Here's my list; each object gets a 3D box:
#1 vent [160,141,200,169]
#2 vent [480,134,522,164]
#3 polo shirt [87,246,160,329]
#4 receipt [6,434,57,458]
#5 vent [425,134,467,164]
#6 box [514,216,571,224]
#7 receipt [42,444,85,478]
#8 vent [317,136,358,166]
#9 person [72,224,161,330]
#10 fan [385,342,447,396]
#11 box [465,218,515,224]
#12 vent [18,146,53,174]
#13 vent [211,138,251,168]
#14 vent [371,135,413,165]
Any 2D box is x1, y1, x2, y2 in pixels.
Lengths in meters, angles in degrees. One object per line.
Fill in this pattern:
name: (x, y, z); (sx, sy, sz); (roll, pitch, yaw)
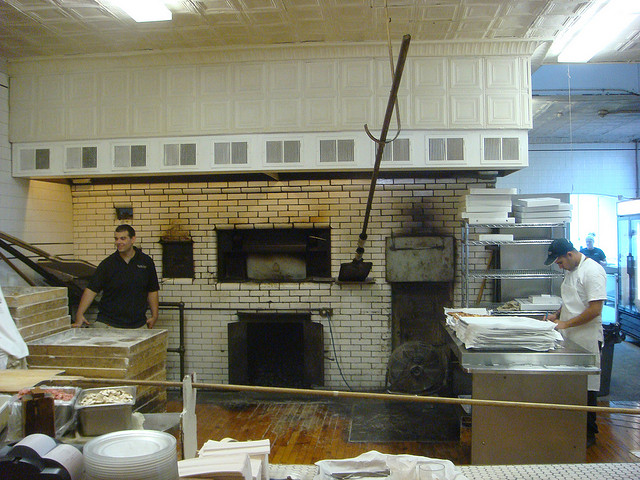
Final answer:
vent: (-1.681, -1.057, 6.865); (0.377, 0.245, 0.051); (1, 5, 4)
vent: (2.123, -1.072, 6.629); (0.457, 0.321, 0.101); (1, 9, 9)
polo shirt: (-2.276, 0.557, 6.506); (0.655, 0.930, 0.557); (6, 2, -15)
receipt: (-1.633, 1.148, 3.212); (0.199, 0.174, 0.103); (-2, 4, -5)
vent: (1.506, -1.096, 6.665); (0.386, 0.250, 0.062); (1, 2, 2)
box: (2.603, -0.235, 6.540); (0.543, 0.078, 0.077); (1, 9, 6)
receipt: (-1.443, 1.256, 3.209); (0.205, 0.170, 0.090); (1, 9, 6)
vent: (0.224, -1.084, 6.717); (0.391, 0.241, 0.050); (0, 3, 2)
person: (-2.294, 0.581, 6.479); (0.888, 1.032, 0.481); (-5, 10, -24)
fan: (1.121, 1.460, 6.492); (0.676, 0.625, 0.181); (1, 9, 7)
box: (1.990, -0.231, 6.565); (0.511, 0.069, 0.068); (0, 9, 3)
vent: (-3.501, -0.983, 6.984); (0.373, 0.284, 0.039); (-1, -2, -2)
vent: (-1.048, -1.059, 6.811); (0.393, 0.261, 0.051); (0, 3, 3)
vent: (0.820, -1.042, 6.440); (0.515, 0.333, 0.069); (1, 2, 2)
